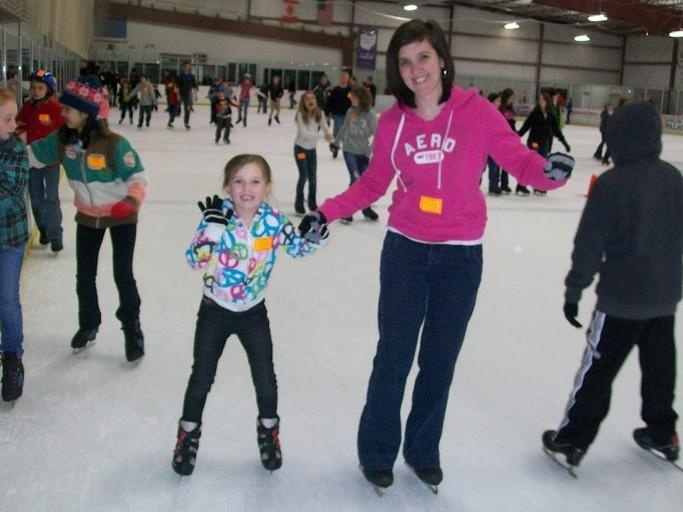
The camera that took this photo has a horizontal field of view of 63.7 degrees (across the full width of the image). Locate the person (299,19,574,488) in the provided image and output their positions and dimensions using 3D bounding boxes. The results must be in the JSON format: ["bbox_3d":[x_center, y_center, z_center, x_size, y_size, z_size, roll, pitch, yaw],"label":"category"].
[{"bbox_3d":[0.333,0.034,2.208,0.942,1.874,0.454,8,15,22],"label":"person"}]

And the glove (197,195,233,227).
[{"bbox_3d":[-0.517,-0.195,2.264,0.129,0.123,0.178,-2,16,-12],"label":"glove"}]

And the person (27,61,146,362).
[{"bbox_3d":[-1.468,-0.205,3.295,0.675,1.663,0.289,9,16,26],"label":"person"}]

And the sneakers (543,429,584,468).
[{"bbox_3d":[1.002,0.864,2.534,0.074,0.098,0.213,21,14,-42],"label":"sneakers"}]

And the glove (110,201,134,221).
[{"bbox_3d":[-1.226,-0.262,3.083,0.071,0.089,0.144,6,16,16],"label":"glove"}]

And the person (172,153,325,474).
[{"bbox_3d":[-0.411,0.255,2.319,0.555,1.355,0.433,1,9,-10],"label":"person"}]

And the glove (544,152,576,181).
[{"bbox_3d":[0.792,-0.322,2.008,0.097,0.110,0.179,7,16,20],"label":"glove"}]

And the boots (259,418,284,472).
[{"bbox_3d":[-0.325,0.803,2.419,0.088,0.188,0.257,2,14,-20],"label":"boots"}]

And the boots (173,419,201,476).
[{"bbox_3d":[-0.651,0.815,2.320,0.089,0.263,0.105,3,-2,-12],"label":"boots"}]

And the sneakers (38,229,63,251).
[{"bbox_3d":[-2.890,-0.158,5.449,0.091,0.210,0.291,5,21,-6],"label":"sneakers"}]

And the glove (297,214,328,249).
[{"bbox_3d":[-0.111,-0.114,2.290,0.102,0.145,0.053,-15,14,-28],"label":"glove"}]

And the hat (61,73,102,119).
[{"bbox_3d":[-1.518,-0.930,3.207,0.209,0.111,0.300,23,15,-22],"label":"hat"}]
